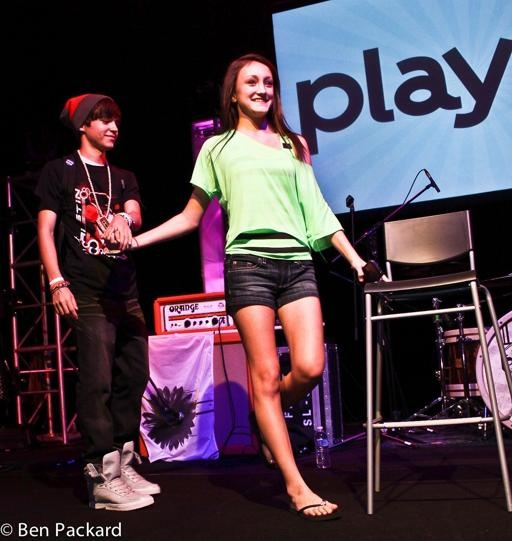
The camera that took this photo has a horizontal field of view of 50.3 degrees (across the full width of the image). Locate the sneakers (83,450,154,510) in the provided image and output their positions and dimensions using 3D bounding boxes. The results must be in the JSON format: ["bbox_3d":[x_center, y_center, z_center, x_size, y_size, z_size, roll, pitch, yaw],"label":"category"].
[{"bbox_3d":[-0.544,0.820,2.152,0.304,0.245,0.144,0,-6,12],"label":"sneakers"}]

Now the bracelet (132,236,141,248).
[{"bbox_3d":[-0.433,-0.098,1.938,0.034,0.035,0.033,1,4,45],"label":"bracelet"}]

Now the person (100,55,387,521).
[{"bbox_3d":[0.038,-0.008,1.984,0.706,1.657,0.314,-6,-8,17],"label":"person"}]
